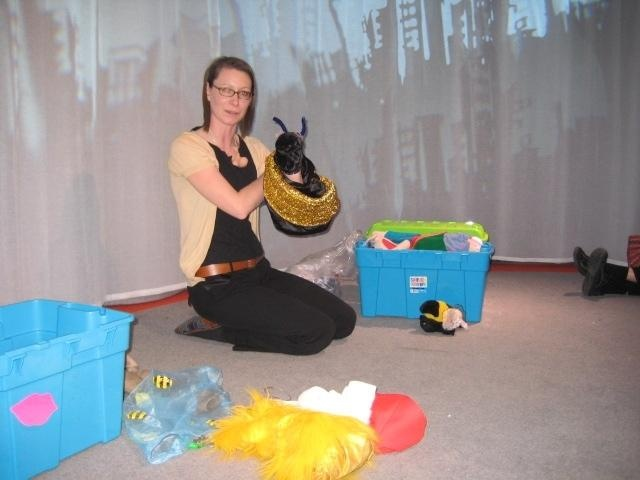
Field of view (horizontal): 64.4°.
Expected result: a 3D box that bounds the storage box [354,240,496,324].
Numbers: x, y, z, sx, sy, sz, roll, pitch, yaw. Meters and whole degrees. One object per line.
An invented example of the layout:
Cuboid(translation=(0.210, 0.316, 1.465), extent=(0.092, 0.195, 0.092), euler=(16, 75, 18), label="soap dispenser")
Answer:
Cuboid(translation=(0.468, 0.168, 2.369), extent=(0.514, 0.287, 0.369), euler=(0, 1, 13), label="storage box")

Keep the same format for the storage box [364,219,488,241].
Cuboid(translation=(0.561, -0.064, 2.606), extent=(0.421, 0.109, 0.247), euler=(1, 7, 11), label="storage box")

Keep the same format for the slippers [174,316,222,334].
Cuboid(translation=(-0.545, 0.381, 2.273), extent=(0.243, 0.108, 0.084), euler=(1, -1, 25), label="slippers")

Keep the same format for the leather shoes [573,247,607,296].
Cuboid(translation=(1.415, 0.160, 2.650), extent=(0.190, 0.332, 0.224), euler=(2, 0, 29), label="leather shoes")

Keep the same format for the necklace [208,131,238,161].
Cuboid(translation=(-0.394, -0.390, 2.106), extent=(0.130, 0.060, 0.102), euler=(37, 20, 10), label="necklace")

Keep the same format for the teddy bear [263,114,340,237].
Cuboid(translation=(-0.089, -0.222, 1.845), extent=(0.296, 0.424, 0.290), euler=(-1, 26, -3), label="teddy bear")

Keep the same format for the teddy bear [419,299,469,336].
Cuboid(translation=(0.528, 0.338, 2.213), extent=(0.169, 0.075, 0.134), euler=(21, 44, 34), label="teddy bear")
